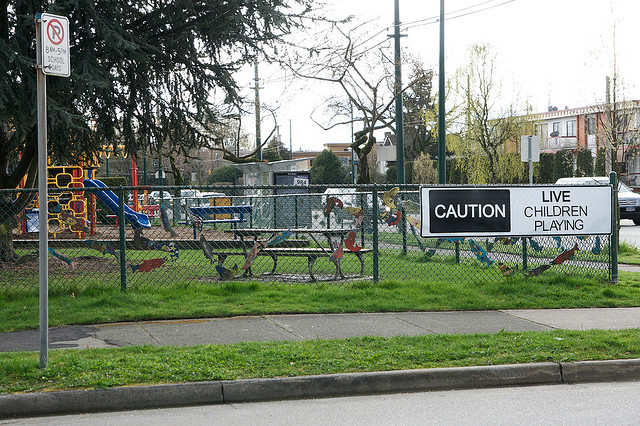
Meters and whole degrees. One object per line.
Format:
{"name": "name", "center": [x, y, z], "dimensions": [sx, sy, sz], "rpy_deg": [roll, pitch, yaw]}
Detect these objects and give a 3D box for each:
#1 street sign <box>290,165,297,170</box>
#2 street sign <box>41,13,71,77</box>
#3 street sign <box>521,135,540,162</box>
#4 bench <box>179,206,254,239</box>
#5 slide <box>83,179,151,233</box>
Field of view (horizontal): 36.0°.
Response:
{"name": "street sign", "center": [-1.345, -2.349, 50.779], "dimensions": [0.210, 0.289, 0.393], "rpy_deg": [0, 1, 17]}
{"name": "street sign", "center": [-4.618, -2.956, 17.228], "dimensions": [0.466, 1.062, 0.316], "rpy_deg": [-2, 2, -20]}
{"name": "street sign", "center": [6.210, -1.919, 29.127], "dimensions": [0.509, 0.723, 0.899], "rpy_deg": [-1, 2, 10]}
{"name": "bench", "center": [-3.286, 0.258, 33.607], "dimensions": [2.081, 0.734, 0.927], "rpy_deg": [-2, -28, -39]}
{"name": "slide", "center": [-6.458, -0.198, 31.009], "dimensions": [2.861, 0.568, 0.331], "rpy_deg": [42, -27, -6]}
